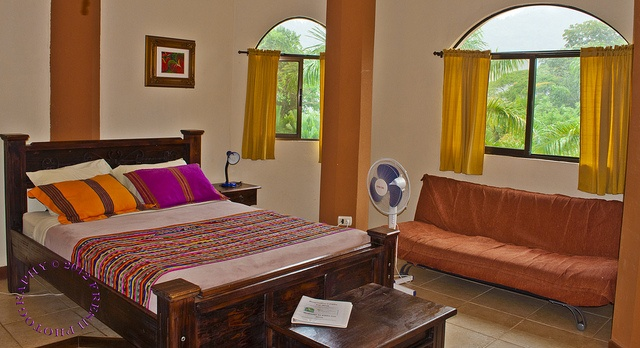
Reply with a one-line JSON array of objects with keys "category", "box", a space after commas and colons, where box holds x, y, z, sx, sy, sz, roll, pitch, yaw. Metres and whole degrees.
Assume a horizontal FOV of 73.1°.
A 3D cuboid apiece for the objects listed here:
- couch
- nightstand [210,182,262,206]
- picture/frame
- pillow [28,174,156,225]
[{"category": "couch", "box": [2.510, 0.969, 6.049, 2.766, 1.311, 1.290, 9, 21, 36]}, {"category": "nightstand", "box": [-1.349, 0.240, 6.791, 0.516, 0.471, 0.447, -7, 12, -44]}, {"category": "picture/frame", "box": [-2.340, -1.738, 6.613, 0.974, 0.886, 0.132, 0, 4, -34]}, {"category": "pillow", "box": [-2.871, 0.309, 5.433, 0.854, 0.221, 0.737, -14, 44, -42]}]
